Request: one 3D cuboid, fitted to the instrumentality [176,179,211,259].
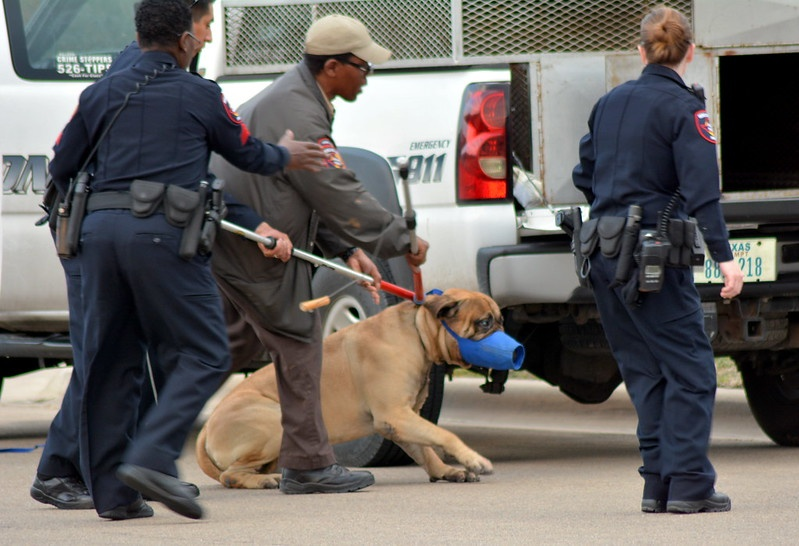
[{"bbox_3d":[-1.021,-0.268,6.582,0.078,0.384,0.174,-1,0,31],"label":"instrumentality"}]

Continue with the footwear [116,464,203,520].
[{"bbox_3d":[-1.230,1.097,6.596,0.367,0.144,0.127,32,-49,-10],"label":"footwear"}]

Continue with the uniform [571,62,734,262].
[{"bbox_3d":[1.301,-0.569,7.045,0.578,0.800,1.049,-15,23,-41],"label":"uniform"}]

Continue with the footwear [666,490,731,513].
[{"bbox_3d":[1.551,1.162,6.898,0.331,0.136,0.121,-6,7,-18],"label":"footwear"}]

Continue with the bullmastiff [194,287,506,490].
[{"bbox_3d":[-0.234,0.729,7.896,1.983,1.038,0.752,-9,-12,20],"label":"bullmastiff"}]

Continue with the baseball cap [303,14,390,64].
[{"bbox_3d":[-0.304,-1.323,7.439,0.522,0.232,0.308,1,22,-3],"label":"baseball cap"}]

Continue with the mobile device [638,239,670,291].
[{"bbox_3d":[1.307,0.006,6.829,0.166,0.270,0.169,-2,-20,22],"label":"mobile device"}]

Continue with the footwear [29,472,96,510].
[{"bbox_3d":[-1.813,1.170,7.145,0.436,0.196,0.157,7,1,-6],"label":"footwear"}]

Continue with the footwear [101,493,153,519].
[{"bbox_3d":[-1.394,1.208,6.840,0.300,0.118,0.098,-9,20,-37],"label":"footwear"}]

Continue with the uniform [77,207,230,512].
[{"bbox_3d":[-1.259,0.445,6.639,0.624,1.527,0.444,-1,0,30],"label":"uniform"}]

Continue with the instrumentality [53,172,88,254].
[{"bbox_3d":[-1.645,-0.285,6.594,0.137,0.429,0.213,10,-9,-4],"label":"instrumentality"}]

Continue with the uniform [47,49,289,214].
[{"bbox_3d":[-1.158,-0.745,6.849,1.131,0.713,0.710,5,9,12],"label":"uniform"}]

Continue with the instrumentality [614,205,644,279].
[{"bbox_3d":[1.187,-0.151,6.910,0.105,0.413,0.125,14,-3,-17],"label":"instrumentality"}]

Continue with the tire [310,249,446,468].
[{"bbox_3d":[-0.124,0.485,7.762,0.443,1.160,1.207,7,-14,-40],"label":"tire"}]
